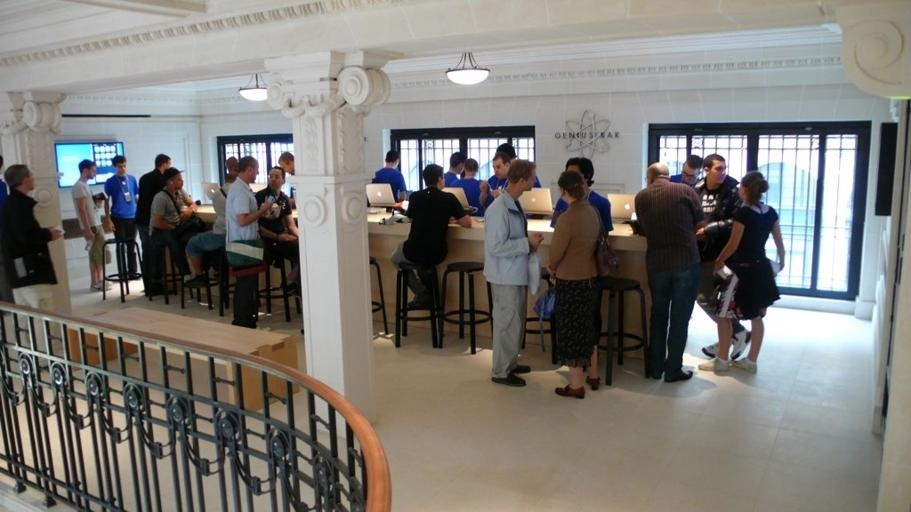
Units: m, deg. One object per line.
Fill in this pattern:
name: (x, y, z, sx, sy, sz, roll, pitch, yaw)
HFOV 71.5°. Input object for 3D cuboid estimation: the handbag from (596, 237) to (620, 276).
handbag: (1.811, 0.014, 7.580, 0.248, 0.499, 0.423, -3, 11, 19)

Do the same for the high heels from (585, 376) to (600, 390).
high heels: (1.695, 1.570, 7.740, 0.098, 0.080, 0.199, -1, 13, 4)

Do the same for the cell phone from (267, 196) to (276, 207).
cell phone: (-2.720, -0.793, 9.422, 0.042, 0.157, 0.169, 36, -5, -40)

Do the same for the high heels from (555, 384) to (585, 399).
high heels: (1.367, 1.628, 7.595, 0.294, 0.115, 0.150, 8, 16, 29)

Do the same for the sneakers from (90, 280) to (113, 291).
sneakers: (-6.363, 0.574, 11.402, 0.492, 0.156, 0.257, 0, 12, -6)

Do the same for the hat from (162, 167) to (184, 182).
hat: (-4.562, -1.339, 10.472, 0.373, 0.136, 0.329, -21, 25, -37)

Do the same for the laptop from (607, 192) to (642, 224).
laptop: (2.318, -0.635, 8.803, 0.509, 0.329, 0.357, 1, 3, 16)

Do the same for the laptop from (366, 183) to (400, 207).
laptop: (-1.163, -0.986, 10.364, 0.524, 0.351, 0.421, 4, 11, 20)

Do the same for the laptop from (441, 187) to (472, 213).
laptop: (0.049, -0.867, 9.272, 0.510, 0.316, 0.357, 14, 24, 25)

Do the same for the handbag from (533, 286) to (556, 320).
handbag: (1.129, 0.602, 7.702, 0.202, 0.460, 0.416, -4, 8, -28)

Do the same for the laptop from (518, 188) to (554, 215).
laptop: (1.235, -0.828, 9.361, 0.547, 0.353, 0.381, 6, 19, 25)

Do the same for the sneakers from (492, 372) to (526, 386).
sneakers: (0.686, 1.560, 7.919, 0.440, 0.156, 0.156, 0, 5, 16)
